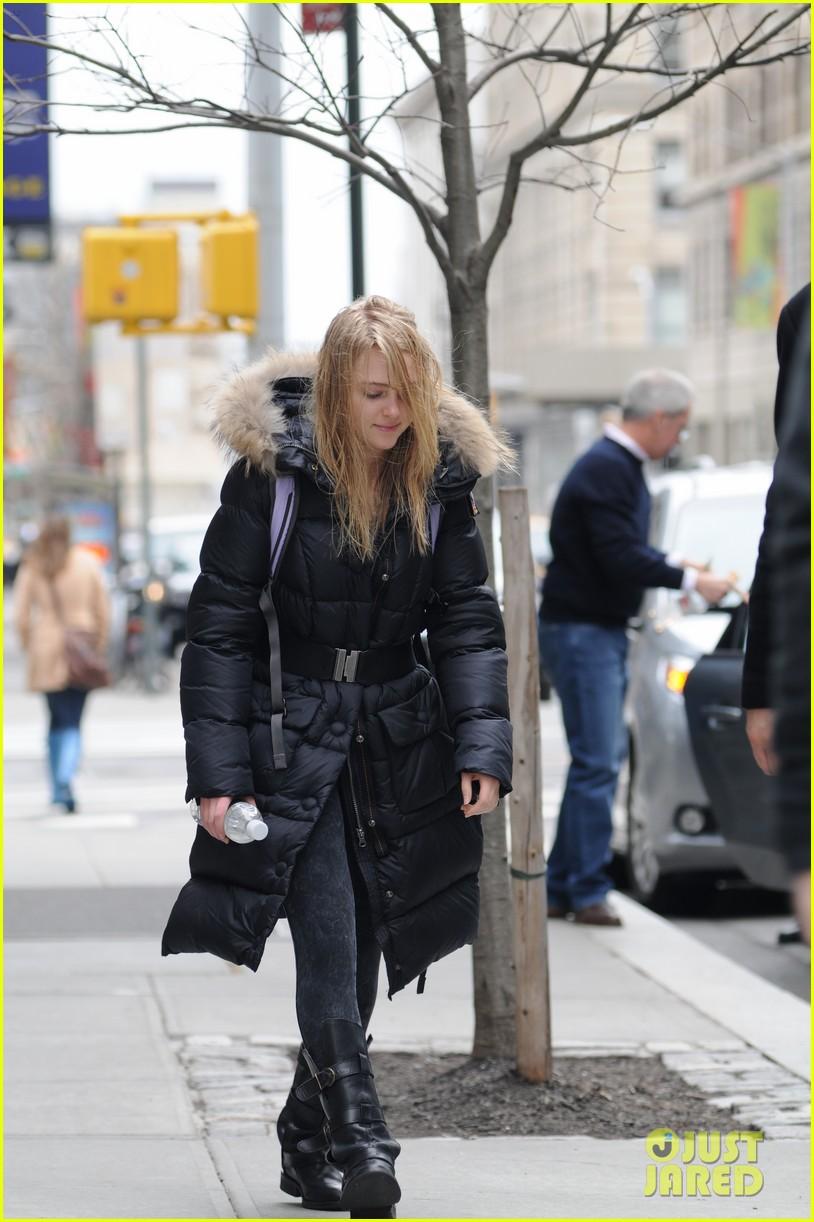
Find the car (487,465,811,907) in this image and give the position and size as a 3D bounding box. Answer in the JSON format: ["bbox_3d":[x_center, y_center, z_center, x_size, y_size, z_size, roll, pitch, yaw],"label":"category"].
[{"bbox_3d":[1.087,0.276,7.834,1.084,1.052,1.911,0,-3,-9],"label":"car"}]

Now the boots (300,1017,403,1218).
[{"bbox_3d":[-0.112,1.004,3.995,0.173,0.368,0.397,-1,7,-7],"label":"boots"}]

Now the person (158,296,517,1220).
[{"bbox_3d":[-0.114,0.215,4.142,0.541,1.690,0.649,6,10,35],"label":"person"}]

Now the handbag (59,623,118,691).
[{"bbox_3d":[-1.729,0.261,10.971,0.259,0.306,0.124,-8,6,-9],"label":"handbag"}]

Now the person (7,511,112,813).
[{"bbox_3d":[-1.890,0.328,11.289,0.514,1.690,0.880,-2,8,-10],"label":"person"}]

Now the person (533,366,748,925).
[{"bbox_3d":[0.760,0.158,7.071,0.445,1.975,0.814,-5,9,-31],"label":"person"}]

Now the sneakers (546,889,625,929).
[{"bbox_3d":[0.626,1.090,7.322,0.304,0.116,0.100,-2,-3,24],"label":"sneakers"}]
